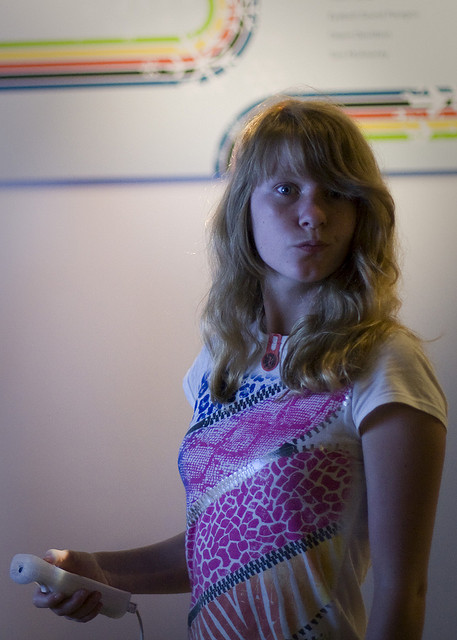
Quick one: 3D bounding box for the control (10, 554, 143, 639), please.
[{"bbox_3d":[-0.288,0.511,1.226,0.343,0.096,0.082,22,31,-26],"label":"control"}]
